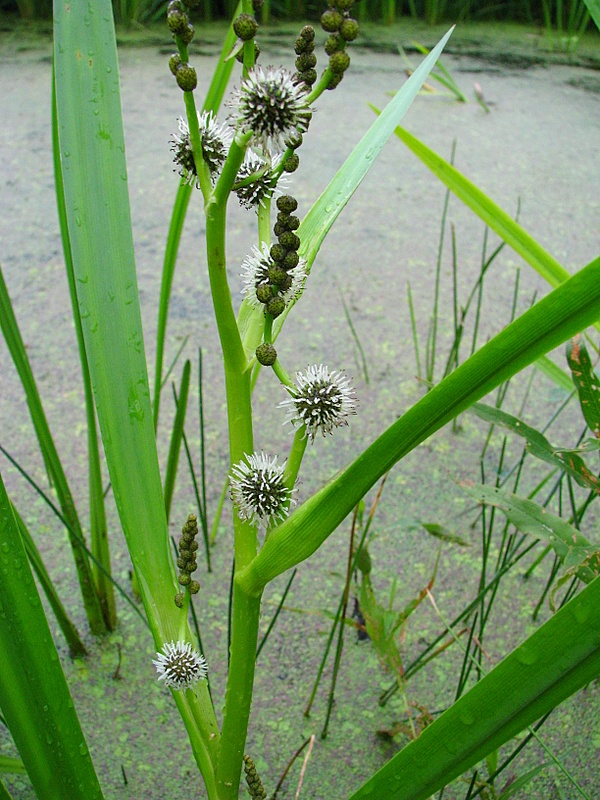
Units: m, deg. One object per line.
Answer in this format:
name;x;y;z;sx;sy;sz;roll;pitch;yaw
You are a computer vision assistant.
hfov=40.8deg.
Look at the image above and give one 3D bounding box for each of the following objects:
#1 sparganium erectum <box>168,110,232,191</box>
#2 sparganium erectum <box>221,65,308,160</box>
sparganium erectum;-0.080;-0.194;0.666;0.052;0.061;0.063;-14;32;1
sparganium erectum;-0.030;-0.195;0.541;0.051;0.062;0.057;-9;40;-14
